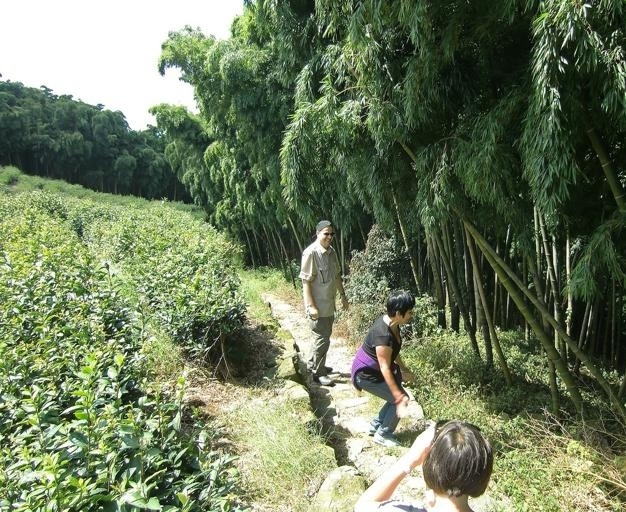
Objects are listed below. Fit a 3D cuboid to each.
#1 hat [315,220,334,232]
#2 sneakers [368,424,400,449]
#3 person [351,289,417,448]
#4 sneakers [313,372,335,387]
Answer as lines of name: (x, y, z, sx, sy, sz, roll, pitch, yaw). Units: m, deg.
hat: (0.117, -0.268, 4.912, 0.088, 0.149, 0.112, 0, 6, -42)
sneakers: (0.530, 1.375, 4.151, 0.255, 0.151, 0.096, 5, 1, 32)
person: (0.586, 0.953, 4.394, 0.418, 1.286, 0.636, -2, 23, 3)
sneakers: (0.094, 1.174, 5.177, 0.080, 0.095, 0.188, -1, -1, -35)
